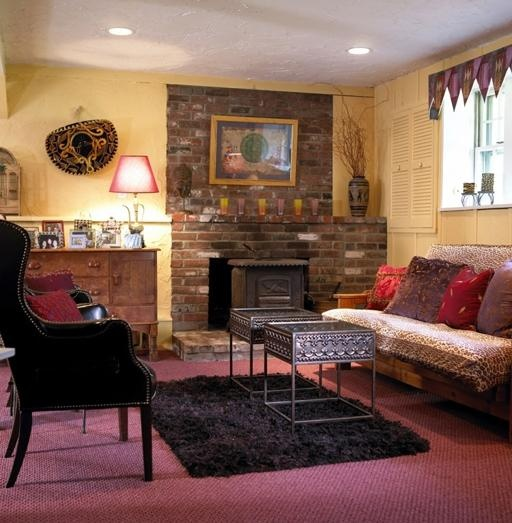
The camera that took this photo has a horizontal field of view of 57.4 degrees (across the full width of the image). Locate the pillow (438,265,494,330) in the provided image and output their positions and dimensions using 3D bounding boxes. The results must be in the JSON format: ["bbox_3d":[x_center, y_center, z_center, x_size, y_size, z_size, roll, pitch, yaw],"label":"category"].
[{"bbox_3d":[1.306,0.234,2.900,0.228,0.333,0.416,1,-5,-17],"label":"pillow"}]

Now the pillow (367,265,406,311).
[{"bbox_3d":[1.060,0.218,3.864,0.117,0.323,0.361,20,5,-24],"label":"pillow"}]

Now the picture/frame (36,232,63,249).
[{"bbox_3d":[-1.846,-0.188,4.205,0.285,0.157,0.146,0,-2,-12],"label":"picture/frame"}]

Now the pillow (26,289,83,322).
[{"bbox_3d":[-1.018,0.225,2.370,0.065,0.118,0.203,-35,-6,9],"label":"pillow"}]

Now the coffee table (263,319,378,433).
[{"bbox_3d":[0.281,0.586,2.646,0.641,0.523,0.644,0,0,-16],"label":"coffee table"}]

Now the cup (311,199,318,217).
[{"bbox_3d":[0.645,-0.612,5.146,0.084,0.191,0.162,0,-1,8],"label":"cup"}]

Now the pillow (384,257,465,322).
[{"bbox_3d":[1.202,0.195,3.318,0.155,0.410,0.490,31,-5,-26],"label":"pillow"}]

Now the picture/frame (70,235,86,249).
[{"bbox_3d":[-1.617,-0.183,4.248,0.166,0.117,0.071,1,3,-18],"label":"picture/frame"}]

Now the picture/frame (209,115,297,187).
[{"bbox_3d":[-0.046,-1.184,5.021,1.118,0.696,0.024,11,23,34],"label":"picture/frame"}]

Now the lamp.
[{"bbox_3d":[-1.160,-0.578,4.501,0.525,0.793,0.457,-1,8,-7],"label":"lamp"}]

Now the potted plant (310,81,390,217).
[{"bbox_3d":[1.097,-1.246,5.277,0.661,1.434,0.356,0,-1,7],"label":"potted plant"}]

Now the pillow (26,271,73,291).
[{"bbox_3d":[-1.423,0.135,3.241,0.051,0.101,0.322,-13,-8,33],"label":"pillow"}]

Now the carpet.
[{"bbox_3d":[0.045,0.843,2.593,1.182,0.068,1.371,1,-1,-20],"label":"carpet"}]
